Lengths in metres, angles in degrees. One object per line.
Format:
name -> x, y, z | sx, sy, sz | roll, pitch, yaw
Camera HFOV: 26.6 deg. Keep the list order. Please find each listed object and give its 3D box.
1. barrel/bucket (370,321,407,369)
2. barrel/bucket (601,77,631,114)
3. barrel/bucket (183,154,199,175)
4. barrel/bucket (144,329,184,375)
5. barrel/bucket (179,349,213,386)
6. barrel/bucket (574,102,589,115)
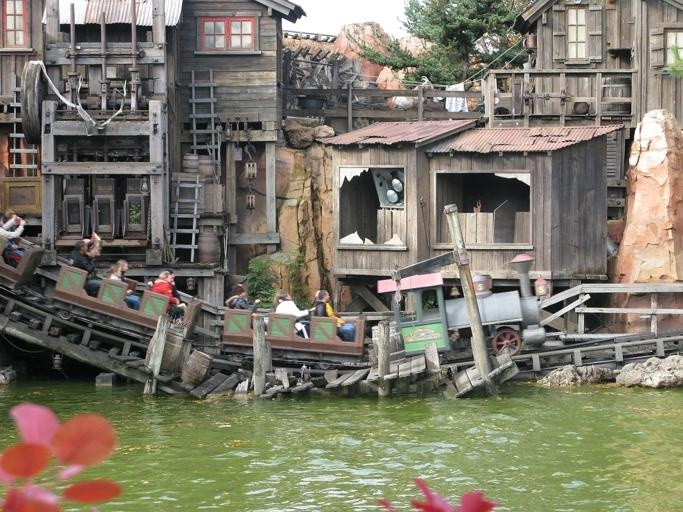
barrel/bucket -> 1.110, 2.190, 35.663 | 0.890, 1.116, 1.516 | -2, -2, 0
barrel/bucket -> 7.924, -4.580, 41.456 | 0.875, 1.185, 1.455 | -3, -2, 11
barrel/bucket -> -4.354, -2.649, 41.504 | 0.436, 0.545, 0.252 | -2, -2, -2
barrel/bucket -> -4.513, 2.348, 35.758 | 0.976, 1.094, 0.882 | -6, 5, -44
barrel/bucket -> -3.623, 2.820, 35.624 | 0.737, 0.953, 0.322 | -2, -2, -4
barrel/bucket -> 6.840, -4.150, 40.936 | 0.483, 0.370, 0.375 | -2, -2, 0
